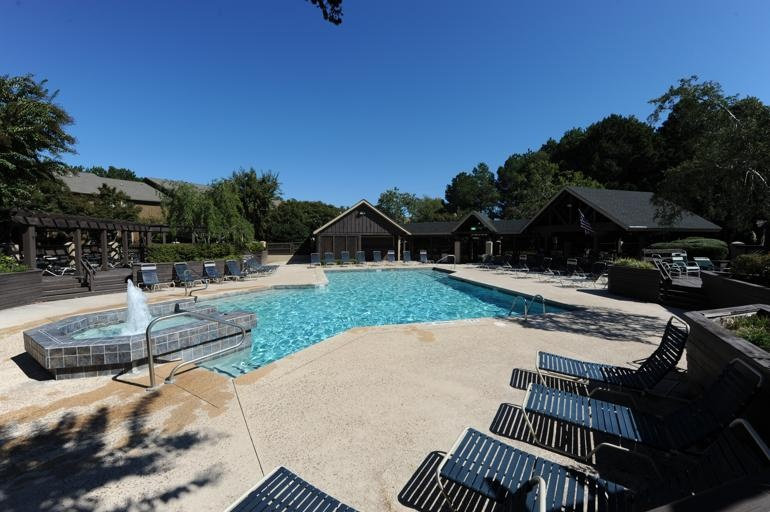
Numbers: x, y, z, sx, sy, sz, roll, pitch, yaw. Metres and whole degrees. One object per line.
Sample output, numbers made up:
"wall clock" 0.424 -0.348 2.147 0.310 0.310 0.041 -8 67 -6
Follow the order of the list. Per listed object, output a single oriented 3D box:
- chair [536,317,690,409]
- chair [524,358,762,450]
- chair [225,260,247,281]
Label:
"chair" 5.288 2.357 9.812 2.986 2.058 1.052 3 9 19
"chair" 5.216 3.315 8.581 3.969 2.046 1.878 -9 4 30
"chair" -8.539 0.706 23.231 0.945 0.969 1.377 -2 18 -41
